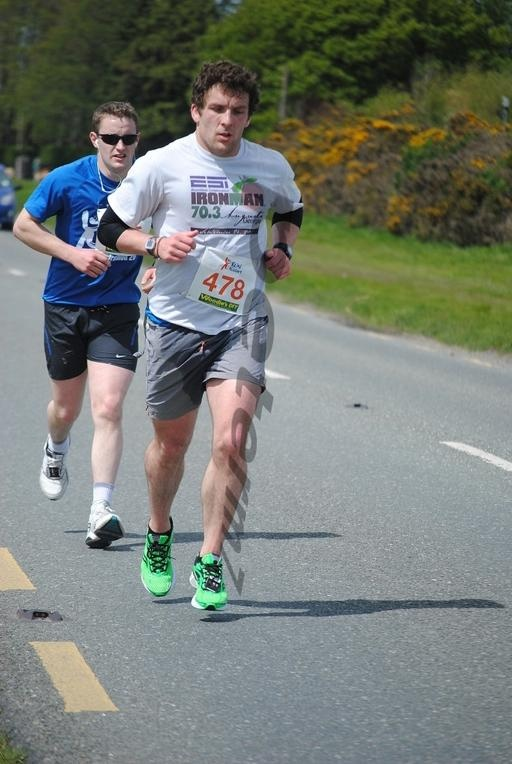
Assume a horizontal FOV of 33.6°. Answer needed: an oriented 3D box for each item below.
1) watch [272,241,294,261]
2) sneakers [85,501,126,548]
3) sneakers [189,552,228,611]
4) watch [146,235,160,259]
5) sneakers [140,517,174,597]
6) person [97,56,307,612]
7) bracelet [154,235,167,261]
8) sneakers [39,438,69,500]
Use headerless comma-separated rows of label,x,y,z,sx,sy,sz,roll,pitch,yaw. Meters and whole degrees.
watch,0.101,-0.462,3.058,0.076,0.045,0.085,28,18,-15
sneakers,-0.627,0.607,3.563,0.106,0.128,0.246,2,-33,-25
sneakers,-0.160,0.676,2.830,0.101,0.093,0.222,3,10,-10
watch,-0.334,-0.419,2.657,0.049,0.069,0.072,11,5,7
sneakers,-0.349,0.631,3.008,0.102,0.246,0.115,0,-28,-7
person,-0.173,-0.136,2.874,0.715,1.833,0.488,0,4,-10
bracelet,-0.292,-0.410,2.588,0.029,0.066,0.092,0,4,-17
sneakers,-1.008,0.429,4.256,0.119,0.307,0.140,0,5,-11
